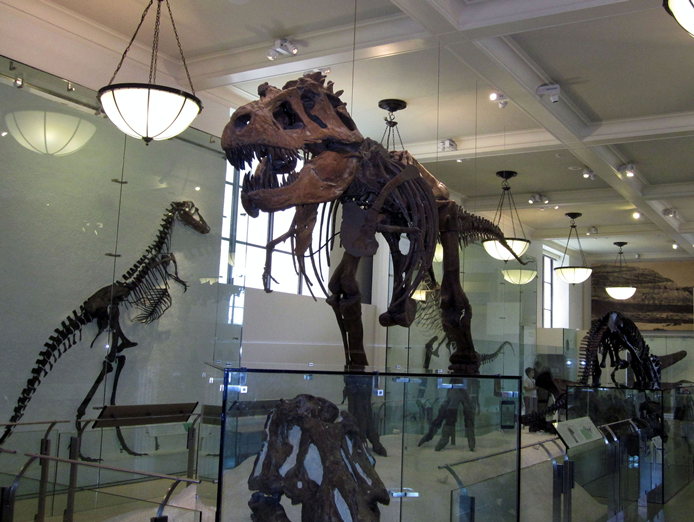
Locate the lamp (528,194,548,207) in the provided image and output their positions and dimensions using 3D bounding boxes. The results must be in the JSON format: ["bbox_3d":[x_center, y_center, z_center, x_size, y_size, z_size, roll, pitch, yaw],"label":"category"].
[{"bbox_3d":[3.643,-1.191,10.415,0.394,0.160,0.246,-2,-7,23],"label":"lamp"}]

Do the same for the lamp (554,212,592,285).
[{"bbox_3d":[4.993,-0.302,12.087,0.718,1.591,0.743,2,13,28],"label":"lamp"}]

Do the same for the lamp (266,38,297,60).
[{"bbox_3d":[-0.680,-2.194,5.680,0.333,0.165,0.283,0,-6,5],"label":"lamp"}]

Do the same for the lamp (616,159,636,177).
[{"bbox_3d":[4.271,-1.417,8.352,0.119,0.203,0.404,17,9,34],"label":"lamp"}]

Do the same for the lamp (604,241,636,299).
[{"bbox_3d":[7.349,0.249,14.688,0.911,1.560,0.945,-2,3,-1],"label":"lamp"}]

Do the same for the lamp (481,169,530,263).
[{"bbox_3d":[2.704,-0.758,9.147,0.686,1.482,0.692,-8,9,-12],"label":"lamp"}]

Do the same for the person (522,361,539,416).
[{"bbox_3d":[3.171,2.290,9.410,0.181,0.816,0.235,19,-10,-28],"label":"person"}]

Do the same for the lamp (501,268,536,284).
[{"bbox_3d":[2.800,0.244,8.863,0.100,0.289,1.131,-5,-8,41],"label":"lamp"}]
